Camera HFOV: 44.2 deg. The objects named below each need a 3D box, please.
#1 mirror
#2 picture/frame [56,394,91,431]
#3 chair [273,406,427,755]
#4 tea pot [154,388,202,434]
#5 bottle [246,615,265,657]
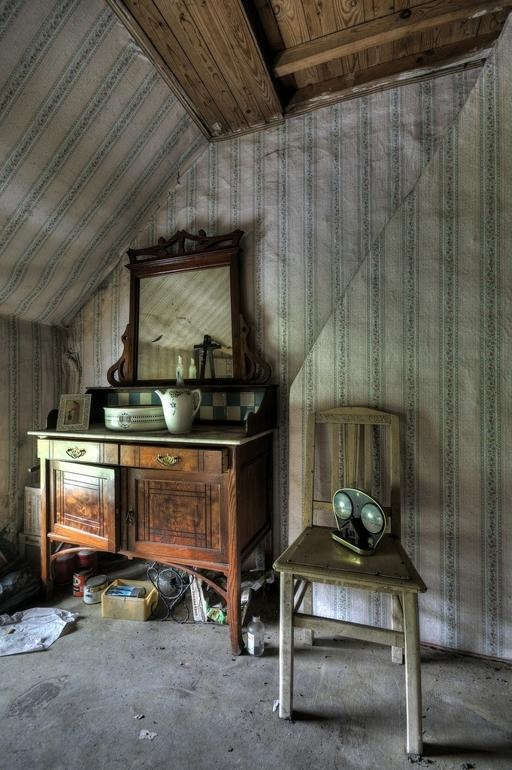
[{"bbox_3d":[-0.353,-0.349,3.051,0.907,0.778,0.090,-2,-2,25],"label":"mirror"},{"bbox_3d":[-0.817,0.127,2.820,0.012,0.159,0.117,-10,-22,41],"label":"picture/frame"},{"bbox_3d":[0.339,0.622,2.301,0.514,1.092,0.611,1,-3,13],"label":"chair"},{"bbox_3d":[-0.329,0.091,2.681,0.256,0.240,0.167,-2,5,-10],"label":"tea pot"},{"bbox_3d":[-0.004,0.953,2.436,0.070,0.141,0.146,1,-3,0],"label":"bottle"}]
